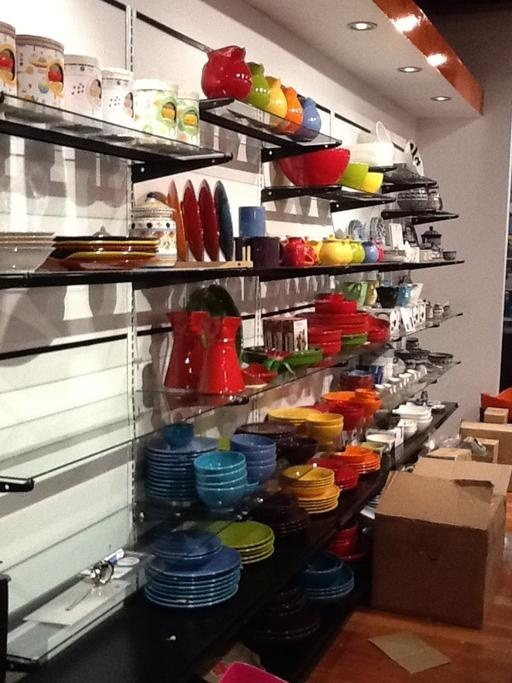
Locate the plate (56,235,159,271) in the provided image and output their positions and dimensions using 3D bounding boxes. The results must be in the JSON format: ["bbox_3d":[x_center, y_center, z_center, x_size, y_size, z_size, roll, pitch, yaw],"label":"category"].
[{"bbox_3d":[-0.239,-0.142,0.838,0.178,0.054,0.092,-2,7,-31],"label":"plate"}]

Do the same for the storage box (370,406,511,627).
[{"bbox_3d":[0.724,0.577,2.008,0.483,0.636,0.662,0,1,24],"label":"storage box"}]

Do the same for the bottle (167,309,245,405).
[{"bbox_3d":[-0.129,0.045,1.232,0.259,0.215,0.118,5,5,40],"label":"bottle"}]

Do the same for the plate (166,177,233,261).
[{"bbox_3d":[-0.144,-0.307,1.300,0.038,0.227,0.176,0,2,43],"label":"plate"}]

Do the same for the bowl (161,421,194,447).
[{"bbox_3d":[-0.184,0.223,1.211,0.086,0.057,0.082,-3,1,0],"label":"bowl"}]

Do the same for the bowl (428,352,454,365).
[{"bbox_3d":[1.349,0.108,3.741,0.121,0.043,0.123,-1,6,0],"label":"bowl"}]

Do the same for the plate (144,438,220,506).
[{"bbox_3d":[-0.185,0.307,1.236,0.156,0.111,0.159,5,6,37],"label":"plate"}]

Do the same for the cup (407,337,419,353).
[{"bbox_3d":[1.101,0.028,3.586,0.094,0.090,0.092,0,6,0],"label":"cup"}]

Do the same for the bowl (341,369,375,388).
[{"bbox_3d":[0.537,0.194,2.715,0.122,0.085,0.095,-1,1,23],"label":"bowl"}]

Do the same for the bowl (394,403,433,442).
[{"bbox_3d":[0.934,0.484,3.024,0.164,0.097,0.213,0,2,23],"label":"bowl"}]

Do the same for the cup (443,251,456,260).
[{"bbox_3d":[1.402,-0.611,3.673,0.105,0.063,0.105,-1,8,0],"label":"cup"}]
